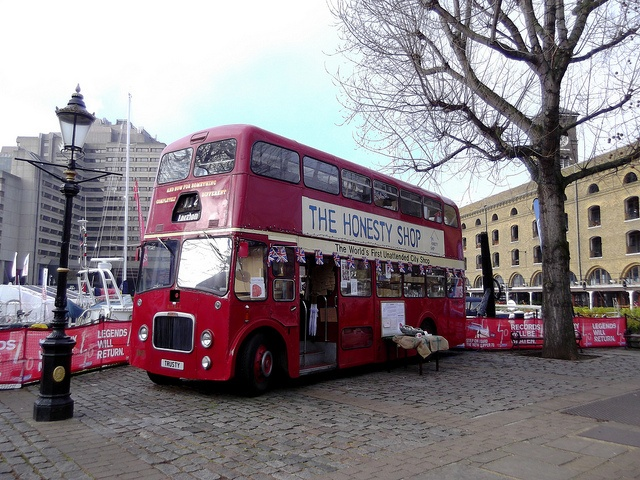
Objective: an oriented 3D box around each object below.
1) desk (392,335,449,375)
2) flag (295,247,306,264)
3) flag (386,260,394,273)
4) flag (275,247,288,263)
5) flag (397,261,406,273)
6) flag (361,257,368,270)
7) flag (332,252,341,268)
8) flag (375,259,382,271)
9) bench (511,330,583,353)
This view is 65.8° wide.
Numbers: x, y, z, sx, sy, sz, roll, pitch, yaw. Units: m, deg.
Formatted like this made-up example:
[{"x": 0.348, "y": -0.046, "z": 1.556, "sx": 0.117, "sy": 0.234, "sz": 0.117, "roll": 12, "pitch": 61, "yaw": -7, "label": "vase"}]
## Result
[{"x": 3.084, "y": 3.459, "z": 15.631, "sx": 1.401, "sy": 1.357, "sz": 1.450, "roll": 3, "pitch": -2, "yaw": -45, "label": "desk"}, {"x": -0.506, "y": 0.361, "z": 12.971, "sx": 0.040, "sy": 0.348, "sz": 0.388, "roll": 0, "pitch": -5, "yaw": 19, "label": "flag"}, {"x": 2.216, "y": 0.810, "z": 15.831, "sx": 0.048, "sy": 0.354, "sz": 0.353, "roll": -11, "pitch": -9, "yaw": 36, "label": "flag"}, {"x": -0.970, "y": 0.356, "z": 12.485, "sx": 0.353, "sy": 0.407, "sz": 0.040, "roll": -4, "pitch": 2, "yaw": -40, "label": "flag"}, {"x": 2.652, "y": 0.854, "z": 16.242, "sx": 0.044, "sy": 0.278, "sz": 0.333, "roll": 4, "pitch": -7, "yaw": 31, "label": "flag"}, {"x": 1.326, "y": 0.676, "z": 14.906, "sx": 0.068, "sy": 0.278, "sz": 0.344, "roll": 8, "pitch": 3, "yaw": 25, "label": "flag"}, {"x": 0.483, "y": 0.529, "z": 13.989, "sx": 0.045, "sy": 0.353, "sz": 0.349, "roll": -8, "pitch": -15, "yaw": 31, "label": "flag"}, {"x": 1.797, "y": 0.755, "z": 15.386, "sx": 0.035, "sy": 0.341, "sz": 0.341, "roll": -9, "pitch": -3, "yaw": 28, "label": "flag"}, {"x": 9.894, "y": 4.301, "z": 21.560, "sx": 3.155, "sy": 0.880, "sz": 2.097, "roll": 0, "pitch": -3, "yaw": 15, "label": "bench"}]
